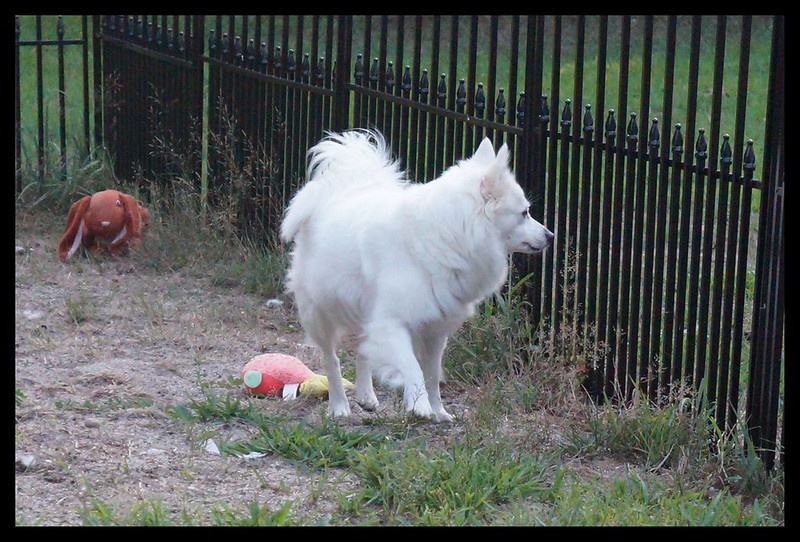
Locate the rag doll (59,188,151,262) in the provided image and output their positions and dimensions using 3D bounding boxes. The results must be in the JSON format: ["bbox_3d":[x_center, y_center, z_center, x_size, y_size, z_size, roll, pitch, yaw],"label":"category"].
[{"bbox_3d":[-3.370,-0.483,12.010,0.893,0.825,0.410,7,0,-20],"label":"rag doll"}]

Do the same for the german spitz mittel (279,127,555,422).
[{"bbox_3d":[0.035,0.025,9.213,2.513,2.513,1.585,9,6,36],"label":"german spitz mittel"}]

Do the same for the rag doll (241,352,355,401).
[{"bbox_3d":[-1.008,0.920,9.324,0.669,0.343,0.429,8,7,2],"label":"rag doll"}]
